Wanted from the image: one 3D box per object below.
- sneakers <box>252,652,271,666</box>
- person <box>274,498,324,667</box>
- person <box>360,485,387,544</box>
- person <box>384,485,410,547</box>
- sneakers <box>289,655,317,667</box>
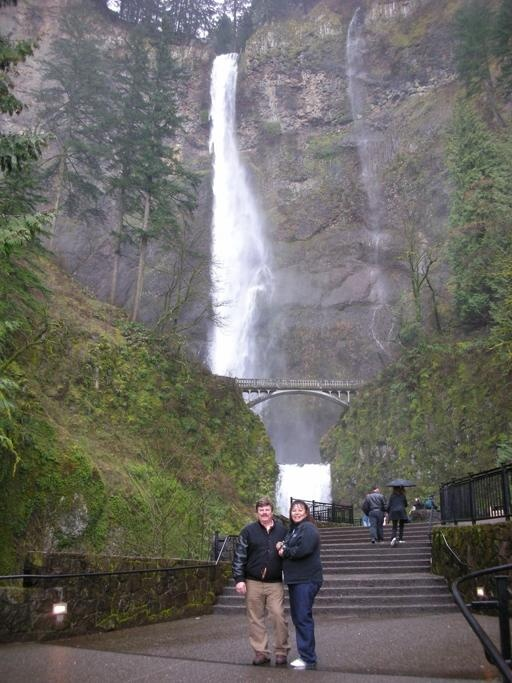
[{"bbox_3d":[0.039,2.958,5.831,0.073,0.106,0.228,-7,-36,25],"label":"sneakers"},{"bbox_3d":[0.420,2.284,5.913,0.418,1.506,0.597,1,-9,-9],"label":"person"},{"bbox_3d":[3.028,4.388,15.942,0.599,1.405,0.443,8,-12,-36],"label":"person"},{"bbox_3d":[3.485,4.324,15.710,0.421,1.485,0.452,-10,-34,27],"label":"person"},{"bbox_3d":[0.426,2.873,5.631,0.221,0.118,0.097,2,-17,1],"label":"sneakers"}]
